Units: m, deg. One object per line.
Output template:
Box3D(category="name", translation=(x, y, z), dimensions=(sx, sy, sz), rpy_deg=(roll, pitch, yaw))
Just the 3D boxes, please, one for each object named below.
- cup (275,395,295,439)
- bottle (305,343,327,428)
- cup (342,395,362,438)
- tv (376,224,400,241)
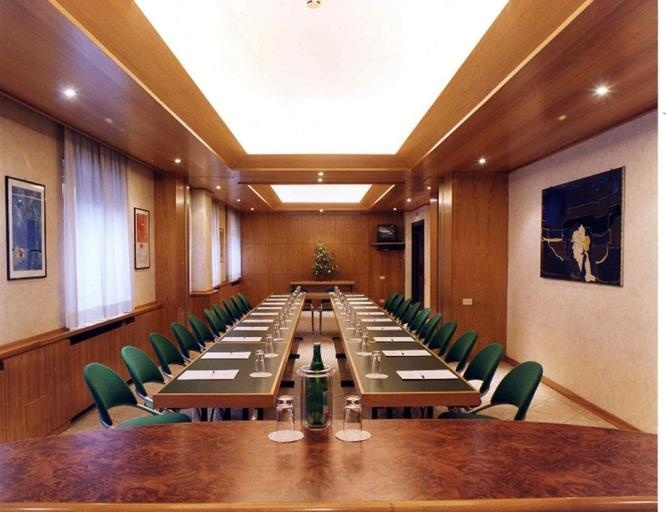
Box3D(category="cup", translation=(-0.254, 0.857, 2.645), dimensions=(0.107, 0.220, 0.156), rpy_deg=(0, 3, -5))
Box3D(category="bottle", translation=(-0.096, 0.717, 2.732), dimensions=(0.127, 0.427, 0.282), rpy_deg=(0, 3, -3))
Box3D(category="cup", translation=(0.112, 0.856, 2.639), dimensions=(0.109, 0.216, 0.163), rpy_deg=(0, 3, 1))
Box3D(category="tv", translation=(1.466, -0.574, 12.862), dimensions=(0.663, 0.624, 0.382), rpy_deg=(0, -3, 2))
